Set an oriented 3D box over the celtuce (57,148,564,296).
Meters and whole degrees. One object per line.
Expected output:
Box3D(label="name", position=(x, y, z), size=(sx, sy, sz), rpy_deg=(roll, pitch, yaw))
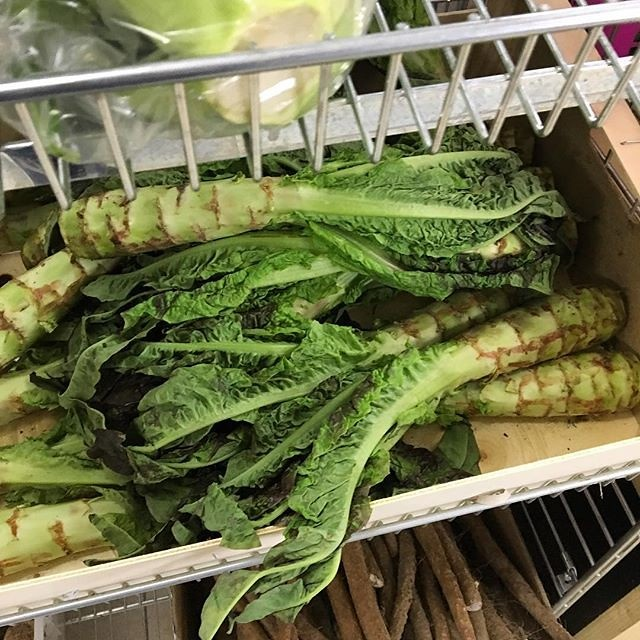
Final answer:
Box3D(label="celtuce", position=(0.006, -0.134, 1.036), size=(0.837, 0.156, 0.295), rpy_deg=(-1, 33, -10))
